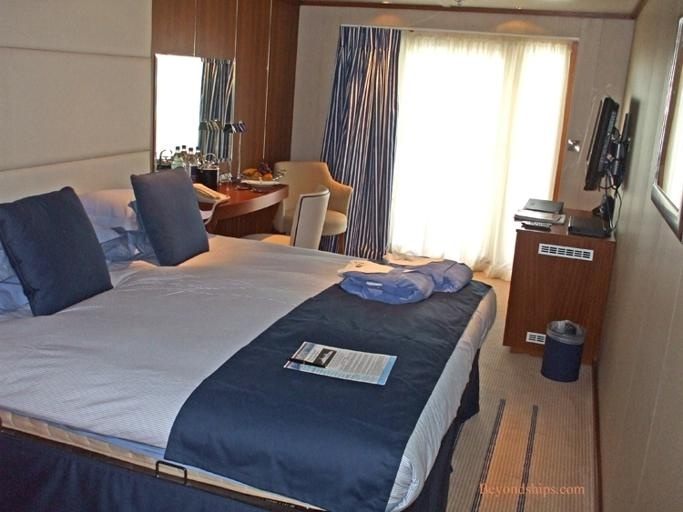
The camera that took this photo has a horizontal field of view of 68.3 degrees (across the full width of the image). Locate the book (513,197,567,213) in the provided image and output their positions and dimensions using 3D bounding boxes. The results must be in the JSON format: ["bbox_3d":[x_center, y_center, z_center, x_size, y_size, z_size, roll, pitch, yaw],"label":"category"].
[{"bbox_3d":[1.781,-0.439,4.438,0.270,0.065,0.256,7,19,24],"label":"book"}]

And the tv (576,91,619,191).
[{"bbox_3d":[1.962,-0.837,3.816,0.141,0.724,0.361,10,20,24],"label":"tv"}]

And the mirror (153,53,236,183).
[{"bbox_3d":[-1.320,-1.256,4.440,0.058,1.422,1.375,6,10,19],"label":"mirror"}]

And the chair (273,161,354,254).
[{"bbox_3d":[-0.389,-0.506,5.757,0.866,1.159,0.985,-3,12,-22],"label":"chair"}]

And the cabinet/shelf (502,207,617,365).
[{"bbox_3d":[1.678,0.446,4.462,0.655,0.939,1.249,10,-10,3],"label":"cabinet/shelf"}]

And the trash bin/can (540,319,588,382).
[{"bbox_3d":[1.637,0.703,3.698,0.263,0.440,0.296,-2,20,-4],"label":"trash bin/can"}]

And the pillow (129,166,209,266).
[{"bbox_3d":[-1.087,-0.255,3.180,0.179,0.583,0.620,-15,1,20],"label":"pillow"}]
